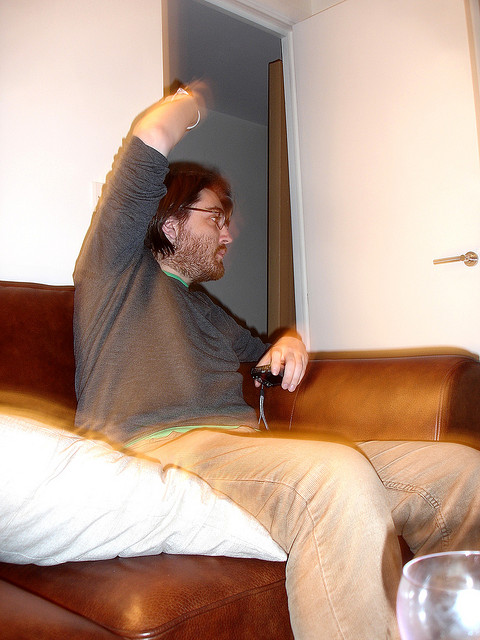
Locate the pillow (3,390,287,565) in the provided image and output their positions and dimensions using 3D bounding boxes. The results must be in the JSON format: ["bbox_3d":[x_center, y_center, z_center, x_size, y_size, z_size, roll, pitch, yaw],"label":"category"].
[{"bbox_3d":[-0.124,0.176,0.691,0.277,0.093,0.252,20,-18,-24],"label":"pillow"}]
